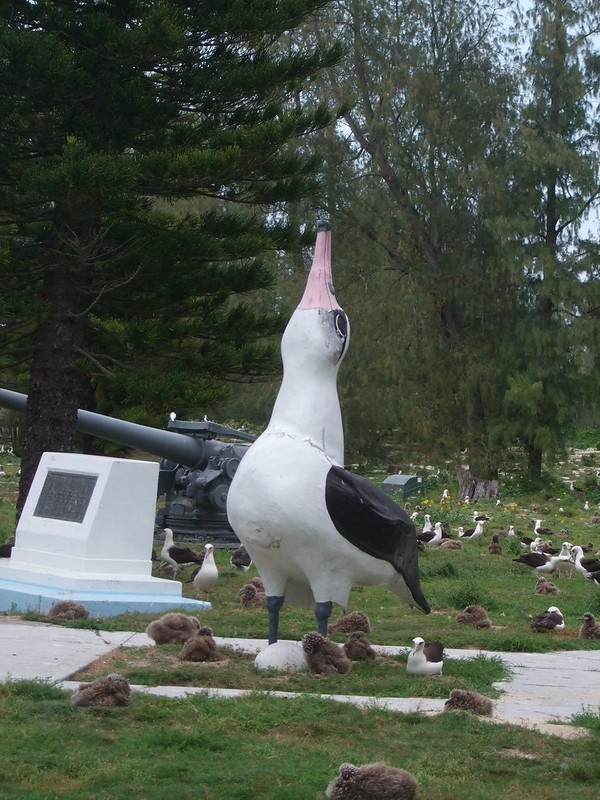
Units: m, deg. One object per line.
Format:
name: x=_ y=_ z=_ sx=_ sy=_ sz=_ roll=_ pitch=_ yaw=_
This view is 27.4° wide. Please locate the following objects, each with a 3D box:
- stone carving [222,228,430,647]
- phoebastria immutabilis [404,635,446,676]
stone carving: x=0.230 y=0.207 z=9.783 sx=1.482 sy=3.456 sz=0.996 roll=10 pitch=-6 yaw=-38
phoebastria immutabilis: x=0.986 y=1.973 z=9.525 sx=0.173 sy=0.239 sz=0.431 roll=1 pitch=-1 yaw=22
